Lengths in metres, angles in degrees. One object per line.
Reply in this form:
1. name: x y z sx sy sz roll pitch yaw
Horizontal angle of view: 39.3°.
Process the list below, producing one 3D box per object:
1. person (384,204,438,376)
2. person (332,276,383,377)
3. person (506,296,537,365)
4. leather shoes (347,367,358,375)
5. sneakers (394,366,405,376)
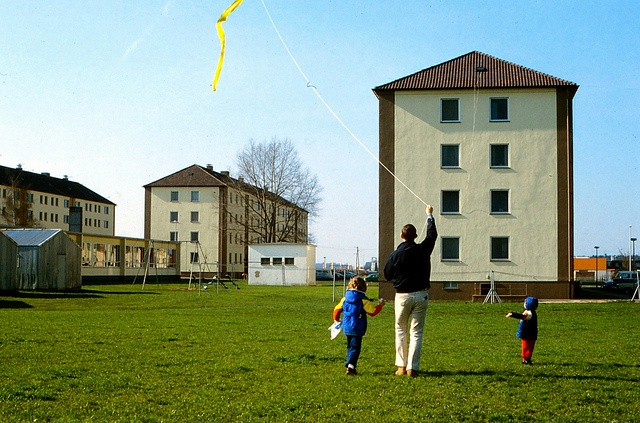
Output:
1. person: 2.607 2.424 25.599 1.325 4.522 0.628 1 -5 6
2. person: 1.081 3.298 26.037 1.290 2.806 1.121 1 -5 4
3. person: 6.212 3.599 27.148 0.703 1.986 1.270 1 -5 11
4. leather shoes: 0.934 4.569 25.738 0.327 0.211 0.208 2 -5 -8
5. sneakers: 2.315 4.584 25.775 0.141 0.236 0.315 2 1 -9
